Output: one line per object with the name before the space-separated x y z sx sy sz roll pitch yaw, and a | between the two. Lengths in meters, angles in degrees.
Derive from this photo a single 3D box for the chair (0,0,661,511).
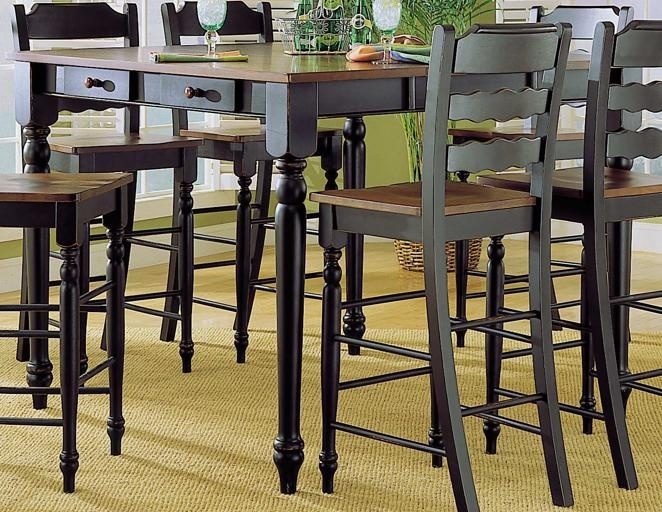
chair | -0.292 -0.032 1.941 1.850 1.226 0.748 11 14 40
